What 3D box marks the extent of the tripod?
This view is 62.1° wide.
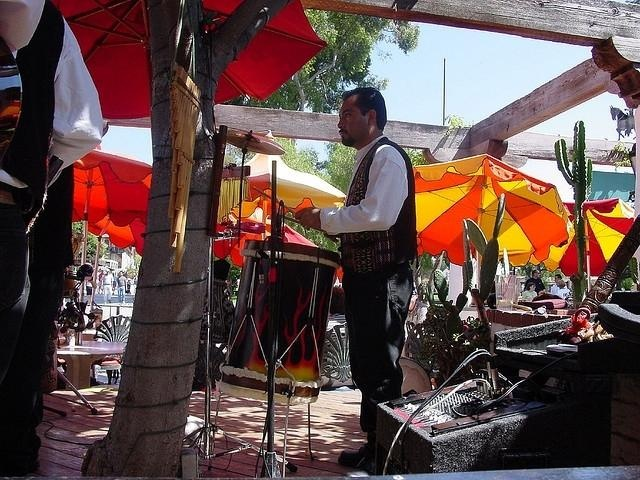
[{"bbox_3d":[-0.594,0.842,3.814,0.831,1.947,0.843,-1,2,-23],"label":"tripod"}]

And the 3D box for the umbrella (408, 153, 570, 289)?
[{"bbox_3d":[2.119,-0.488,6.499,1.554,0.840,1.641,11,-36,-6],"label":"umbrella"}]

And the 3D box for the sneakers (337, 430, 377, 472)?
[{"bbox_3d":[0.266,1.256,3.230,0.277,0.244,0.290,1,-1,11],"label":"sneakers"}]

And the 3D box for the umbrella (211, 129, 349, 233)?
[{"bbox_3d":[-0.261,-0.462,6.071,1.493,1.207,1.595,3,1,-12],"label":"umbrella"}]

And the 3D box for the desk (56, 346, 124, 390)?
[{"bbox_3d":[-2.186,1.167,5.027,0.558,0.278,0.587,0,-4,19],"label":"desk"}]

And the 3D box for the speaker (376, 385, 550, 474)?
[{"bbox_3d":[0.549,0.807,2.179,0.595,0.419,0.655,3,-5,0],"label":"speaker"}]

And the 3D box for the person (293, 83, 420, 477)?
[{"bbox_3d":[0.192,0.146,3.320,0.756,2.274,0.680,1,-2,-10],"label":"person"}]
